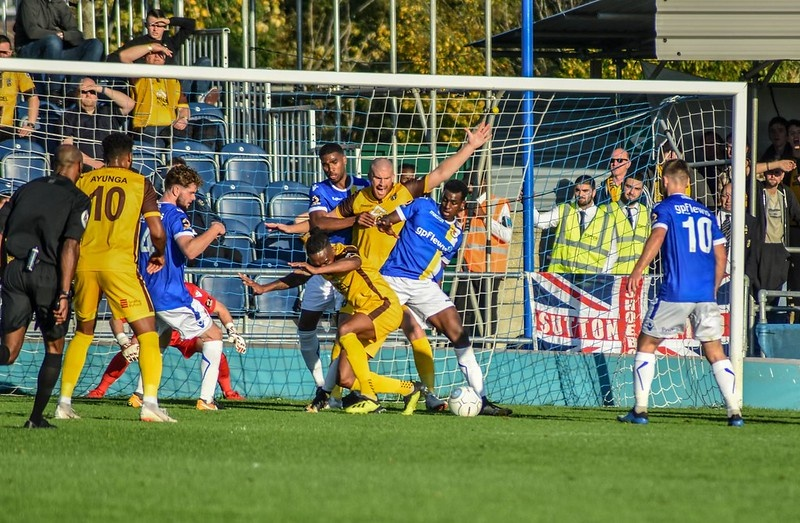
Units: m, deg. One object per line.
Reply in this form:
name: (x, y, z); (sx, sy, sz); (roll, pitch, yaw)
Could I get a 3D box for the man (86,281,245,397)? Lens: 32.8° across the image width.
man: (-2.872, 0.916, 16.260); (1.565, 1.509, 0.854); (-5, -1, -15)

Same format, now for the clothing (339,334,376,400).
clothing: (-0.462, 1.103, 15.222); (0.225, 0.940, 0.259); (-30, 18, -27)

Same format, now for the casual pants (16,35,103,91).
casual pants: (-4.984, -3.020, 19.781); (1.008, 0.708, 1.441); (7, -8, -39)

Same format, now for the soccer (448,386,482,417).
soccer: (0.734, 1.603, 15.407); (0.299, 0.336, 0.332); (4, -44, -11)

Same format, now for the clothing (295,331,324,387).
clothing: (-1.061, 1.102, 16.220); (0.229, 0.849, 0.216); (-20, 14, -26)

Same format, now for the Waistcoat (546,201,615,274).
Waistcoat: (2.358, -0.295, 17.511); (0.696, 0.982, 0.521); (12, 3, 11)

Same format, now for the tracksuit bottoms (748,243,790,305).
tracksuit bottoms: (4.809, 0.080, 17.709); (0.547, 0.639, 0.345); (1, -1, 7)

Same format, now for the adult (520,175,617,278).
adult: (2.217, -0.404, 17.731); (1.045, 2.128, 0.662); (-4, -26, 14)

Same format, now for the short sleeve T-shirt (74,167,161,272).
short sleeve T-shirt: (-3.039, -0.431, 14.412); (0.905, 1.106, 0.434); (7, 7, -1)

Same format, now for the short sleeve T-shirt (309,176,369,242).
short sleeve T-shirt: (-0.713, -0.569, 15.758); (0.689, 0.858, 0.294); (0, 8, -4)

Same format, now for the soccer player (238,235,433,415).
soccer player: (-0.670, 0.641, 15.128); (1.995, 2.092, 1.148); (-1, -7, -17)

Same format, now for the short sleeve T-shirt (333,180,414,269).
short sleeve T-shirt: (-0.289, -0.381, 15.560); (0.805, 0.773, 0.309); (8, 22, -10)

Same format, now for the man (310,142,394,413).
man: (-0.723, 0.174, 16.131); (1.002, 2.988, 0.698); (2, 14, 5)

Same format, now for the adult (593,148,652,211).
adult: (2.972, -1.049, 17.977); (0.725, 0.998, 0.490); (-8, -26, 20)

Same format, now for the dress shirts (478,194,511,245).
dress shirts: (1.307, -0.548, 17.843); (0.547, 0.593, 0.226); (14, 14, 37)

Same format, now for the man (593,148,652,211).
man: (2.972, -1.049, 17.977); (0.725, 0.998, 0.490); (-8, -26, 20)

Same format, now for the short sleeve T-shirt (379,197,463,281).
short sleeve T-shirt: (0.194, -0.274, 15.657); (0.633, 0.645, 0.346); (34, 1, -32)

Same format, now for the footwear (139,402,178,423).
footwear: (-2.609, 1.602, 14.436); (0.432, 0.199, 0.175); (7, -3, -23)

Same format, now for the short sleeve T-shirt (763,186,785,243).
short sleeve T-shirt: (4.988, -0.602, 18.051); (0.359, 0.686, 0.171); (2, -4, -15)

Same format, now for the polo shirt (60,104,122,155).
polo shirt: (-4.010, -1.682, 17.554); (0.785, 0.956, 0.524); (-5, -15, -15)

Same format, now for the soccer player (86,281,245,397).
soccer player: (-2.729, 0.862, 15.989); (1.791, 1.760, 1.039); (-5, -15, 23)

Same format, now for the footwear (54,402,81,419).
footwear: (-3.565, 1.605, 14.545); (0.123, 0.154, 0.344); (2, -3, 29)

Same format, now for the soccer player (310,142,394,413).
soccer player: (-0.729, 0.184, 16.172); (0.979, 3.020, 0.761); (2, 17, 1)

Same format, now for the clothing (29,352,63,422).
clothing: (-3.716, 1.310, 14.174); (0.275, 0.724, 0.360); (1, -1, 20)

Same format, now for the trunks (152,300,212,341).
trunks: (-2.438, 0.526, 15.290); (0.591, 0.529, 0.423); (-3, 41, 2)
